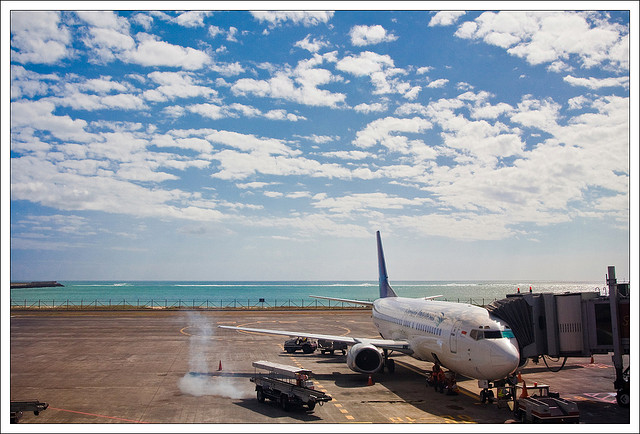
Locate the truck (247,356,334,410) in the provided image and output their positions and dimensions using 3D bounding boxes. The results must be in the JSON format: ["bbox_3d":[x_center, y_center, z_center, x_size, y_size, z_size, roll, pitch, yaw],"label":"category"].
[{"bbox_3d":[-3.904,14.835,43.492,3.337,3.530,10.986,3,-4,-44],"label":"truck"}]

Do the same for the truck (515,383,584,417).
[{"bbox_3d":[18.136,15.035,39.275,3.604,1.480,5.010,-1,-9,-4],"label":"truck"}]

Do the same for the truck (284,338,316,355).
[{"bbox_3d":[-2.680,17.287,63.064,3.644,1.815,2.231,3,-9,4],"label":"truck"}]

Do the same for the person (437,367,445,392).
[{"bbox_3d":[11.695,15.614,45.397,0.594,2.135,0.955,1,-5,2],"label":"person"}]

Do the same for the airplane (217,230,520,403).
[{"bbox_3d":[9.540,9.434,50.100,13.461,15.336,23.302,1,-5,-8],"label":"airplane"}]

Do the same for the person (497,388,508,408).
[{"bbox_3d":[15.791,15.675,40.736,0.753,1.606,1.325,-1,-6,23],"label":"person"}]
